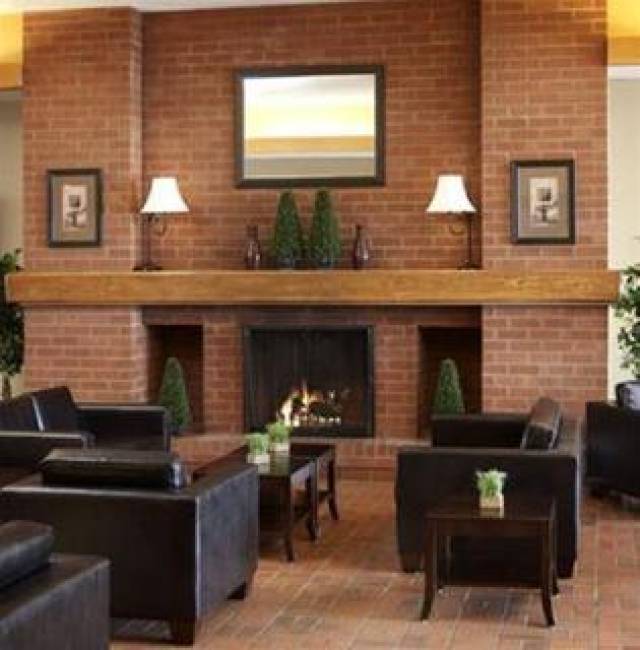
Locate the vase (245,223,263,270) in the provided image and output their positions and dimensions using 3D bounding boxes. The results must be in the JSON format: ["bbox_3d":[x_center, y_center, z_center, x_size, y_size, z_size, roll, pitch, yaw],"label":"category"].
[{"bbox_3d":[-0.577,-0.674,6.156,0.143,0.416,0.233,0,-1,-5],"label":"vase"}]

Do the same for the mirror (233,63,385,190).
[{"bbox_3d":[-0.039,-1.744,6.129,1.152,0.892,0.050,0,0,7],"label":"mirror"}]

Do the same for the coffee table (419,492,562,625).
[{"bbox_3d":[0.737,0.988,3.115,0.667,0.393,0.692,-5,-5,44],"label":"coffee table"}]

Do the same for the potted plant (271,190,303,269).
[{"bbox_3d":[-0.275,-0.798,5.989,0.265,0.646,0.169,0,-1,-3],"label":"potted plant"}]

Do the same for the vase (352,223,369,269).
[{"bbox_3d":[0.348,-0.644,5.987,0.139,0.389,0.265,0,-2,4],"label":"vase"}]

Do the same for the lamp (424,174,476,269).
[{"bbox_3d":[1.076,-0.855,5.743,0.377,0.797,0.537,-1,-2,12],"label":"lamp"}]

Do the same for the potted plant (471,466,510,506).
[{"bbox_3d":[0.770,0.701,3.154,0.177,0.171,0.168,0,-3,-2],"label":"potted plant"}]

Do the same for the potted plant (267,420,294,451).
[{"bbox_3d":[-0.239,0.706,4.506,0.154,0.190,0.176,0,0,-32],"label":"potted plant"}]

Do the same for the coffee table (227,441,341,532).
[{"bbox_3d":[-0.160,0.920,4.634,0.487,0.530,0.737,0,-1,14],"label":"coffee table"}]

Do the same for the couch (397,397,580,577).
[{"bbox_3d":[0.963,0.895,4.012,0.922,0.612,1.273,-1,2,19],"label":"couch"}]

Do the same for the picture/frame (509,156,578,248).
[{"bbox_3d":[1.783,-0.977,5.548,0.718,0.960,0.073,0,2,12],"label":"picture/frame"}]

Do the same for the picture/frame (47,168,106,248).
[{"bbox_3d":[-2.128,-1.038,6.215,0.711,0.943,0.071,0,1,9],"label":"picture/frame"}]

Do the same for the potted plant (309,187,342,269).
[{"bbox_3d":[0.044,-0.803,5.927,0.254,0.643,0.165,0,-1,-1],"label":"potted plant"}]

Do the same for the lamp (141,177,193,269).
[{"bbox_3d":[-1.358,-0.905,6.182,0.447,0.850,0.605,0,-2,-14],"label":"lamp"}]

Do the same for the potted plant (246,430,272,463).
[{"bbox_3d":[-0.361,0.723,4.273,0.183,0.191,0.146,0,-2,-35],"label":"potted plant"}]
